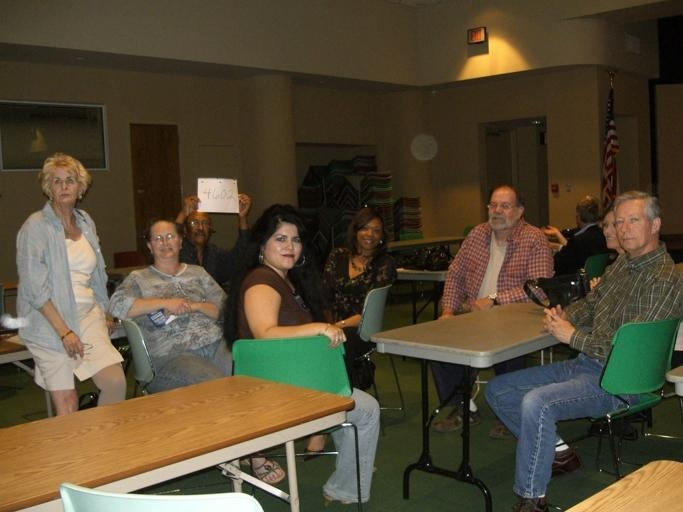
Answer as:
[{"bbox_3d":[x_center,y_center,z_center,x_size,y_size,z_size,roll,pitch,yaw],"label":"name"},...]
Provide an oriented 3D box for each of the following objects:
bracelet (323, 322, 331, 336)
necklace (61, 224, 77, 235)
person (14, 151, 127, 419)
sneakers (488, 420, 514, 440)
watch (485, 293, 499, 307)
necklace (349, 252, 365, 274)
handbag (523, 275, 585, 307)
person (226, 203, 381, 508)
[{"bbox_3d":[-0.066,0.336,2.447,0.036,0.040,0.114,-4,7,-2],"label":"bracelet"},{"bbox_3d":[-1.604,-0.150,3.169,0.055,0.054,0.013,14,-42,-37],"label":"necklace"},{"bbox_3d":[-1.614,0.144,3.087,0.496,1.485,0.584,-8,9,-29],"label":"person"},{"bbox_3d":[1.100,1.225,3.765,0.064,0.126,0.172,4,0,-28],"label":"sneakers"},{"bbox_3d":[1.070,0.311,3.778,0.062,0.074,0.037,7,10,14],"label":"watch"},{"bbox_3d":[0.117,0.051,4.121,0.103,0.145,0.035,-3,-9,15],"label":"necklace"},{"bbox_3d":[1.253,0.197,3.133,0.242,0.155,0.229,-7,2,5],"label":"handbag"},{"bbox_3d":[-0.212,0.578,2.656,0.764,1.659,0.779,-3,8,5],"label":"person"}]
